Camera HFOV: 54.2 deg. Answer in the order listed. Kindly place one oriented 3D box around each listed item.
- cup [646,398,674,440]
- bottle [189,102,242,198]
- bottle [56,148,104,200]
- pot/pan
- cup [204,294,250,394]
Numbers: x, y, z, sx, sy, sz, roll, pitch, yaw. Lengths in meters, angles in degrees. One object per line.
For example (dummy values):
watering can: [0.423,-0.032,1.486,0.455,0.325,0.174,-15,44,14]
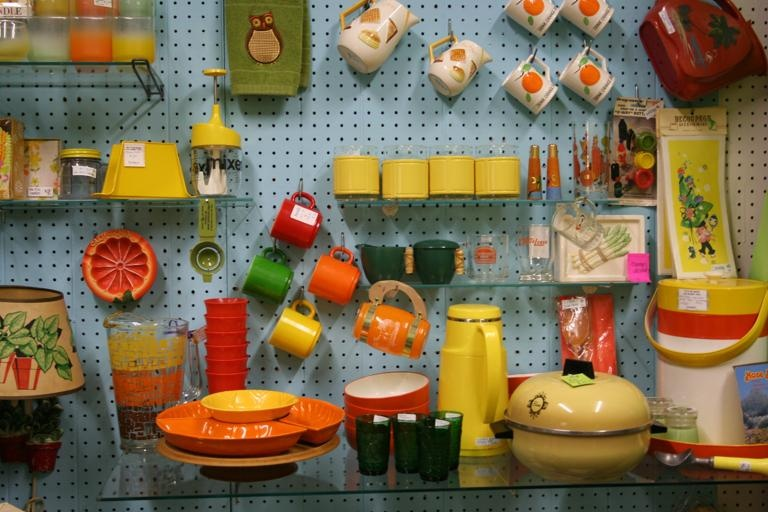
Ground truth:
cup: [0.972,0.571,2.642,0.102,0.142,0.119,1,-6,-7]
bottle: [-0.621,-0.393,2.770,0.192,0.298,0.178,0,24,0]
bottle: [-1.096,-0.290,2.750,0.149,0.203,0.165,1,-1,-1]
pot/pan: [0.628,0.548,2.448,0.414,0.346,0.402,0,-2,11]
cup: [-0.571,0.328,2.737,0.163,0.299,0.151,0,24,0]
